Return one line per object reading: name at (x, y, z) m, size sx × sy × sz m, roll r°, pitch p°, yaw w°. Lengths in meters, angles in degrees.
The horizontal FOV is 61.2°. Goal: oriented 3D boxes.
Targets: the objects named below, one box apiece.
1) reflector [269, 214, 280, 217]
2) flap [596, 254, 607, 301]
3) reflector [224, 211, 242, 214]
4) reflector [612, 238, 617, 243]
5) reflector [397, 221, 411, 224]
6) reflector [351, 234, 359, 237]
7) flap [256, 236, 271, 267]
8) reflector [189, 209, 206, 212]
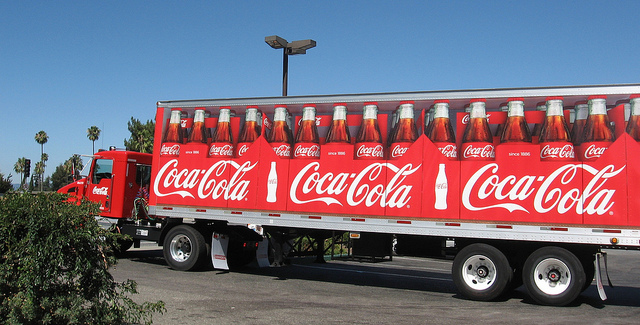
reflector at (-1.509, 1.754, 18.068) m, size 0.345 × 0.073 × 0.007 m, roll 2°, pitch -2°, yaw 19°
flap at (8.402, 3.422, 16.154) m, size 0.287 × 1.393 × 0.599 m, roll 3°, pitch -1°, yaw 28°
reflector at (-2.966, 1.701, 18.472) m, size 0.607 × 0.080 × 0.032 m, roll 2°, pitch -1°, yaw 12°
reflector at (8.605, 2.258, 15.755) m, size 0.119 × 0.128 × 0.035 m, roll 3°, pitch -1°, yaw 6°
reflector at (2.670, 1.872, 17.050) m, size 0.394 × 0.060 × 0.010 m, roll 2°, pitch -2°, yaw 14°
reflector at (1.160, 2.397, 17.810) m, size 0.249 × 0.069 × 0.069 m, roll 3°, pitch -1°, yaw 2°
flap at (-1.974, 3.083, 18.948) m, size 0.488 × 0.904 × 0.150 m, roll 4°, pitch -1°, yaw -19°
reflector at (-4.250, 1.659, 18.813) m, size 0.592 × 0.082 × 0.010 m, roll 2°, pitch -2°, yaw 13°
